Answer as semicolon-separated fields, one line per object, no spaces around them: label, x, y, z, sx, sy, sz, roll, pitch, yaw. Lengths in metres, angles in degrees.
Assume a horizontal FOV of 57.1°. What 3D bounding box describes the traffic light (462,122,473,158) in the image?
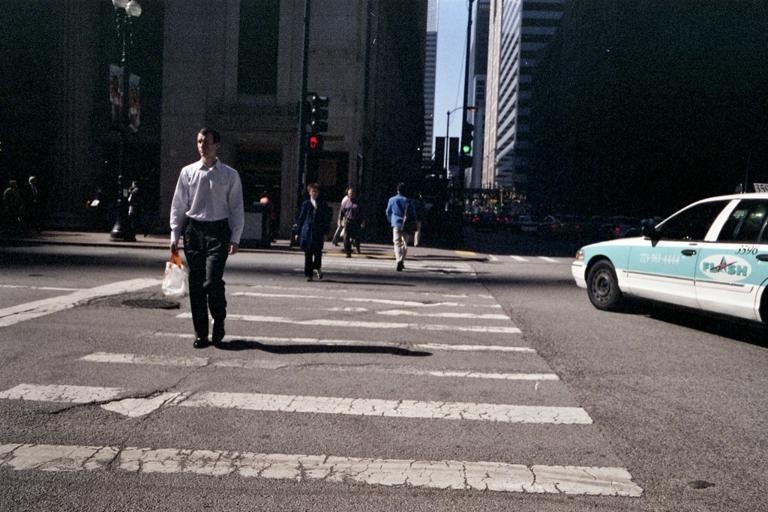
traffic light;3.237;-4.555;27.670;0.388;1.341;1.470;3;9;10

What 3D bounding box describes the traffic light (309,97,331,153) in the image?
traffic light;-2.165;-4.396;22.782;0.723;1.634;0.578;-2;6;-3

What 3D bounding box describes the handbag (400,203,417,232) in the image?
handbag;0.620;-0.999;18.645;0.355;0.973;0.843;2;-4;13

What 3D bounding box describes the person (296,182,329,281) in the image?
person;-1.586;-0.524;15.886;0.670;2.140;1.224;1;9;-5

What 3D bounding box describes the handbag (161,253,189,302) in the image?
handbag;-2.959;0.244;9.993;0.346;0.721;0.313;3;-4;4

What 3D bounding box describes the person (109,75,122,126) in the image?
person;-8.808;-5.208;23.248;0.425;1.807;0.366;12;30;0

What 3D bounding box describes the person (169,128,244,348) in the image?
person;-2.314;-0.217;9.248;0.909;2.834;0.571;-1;9;-13
